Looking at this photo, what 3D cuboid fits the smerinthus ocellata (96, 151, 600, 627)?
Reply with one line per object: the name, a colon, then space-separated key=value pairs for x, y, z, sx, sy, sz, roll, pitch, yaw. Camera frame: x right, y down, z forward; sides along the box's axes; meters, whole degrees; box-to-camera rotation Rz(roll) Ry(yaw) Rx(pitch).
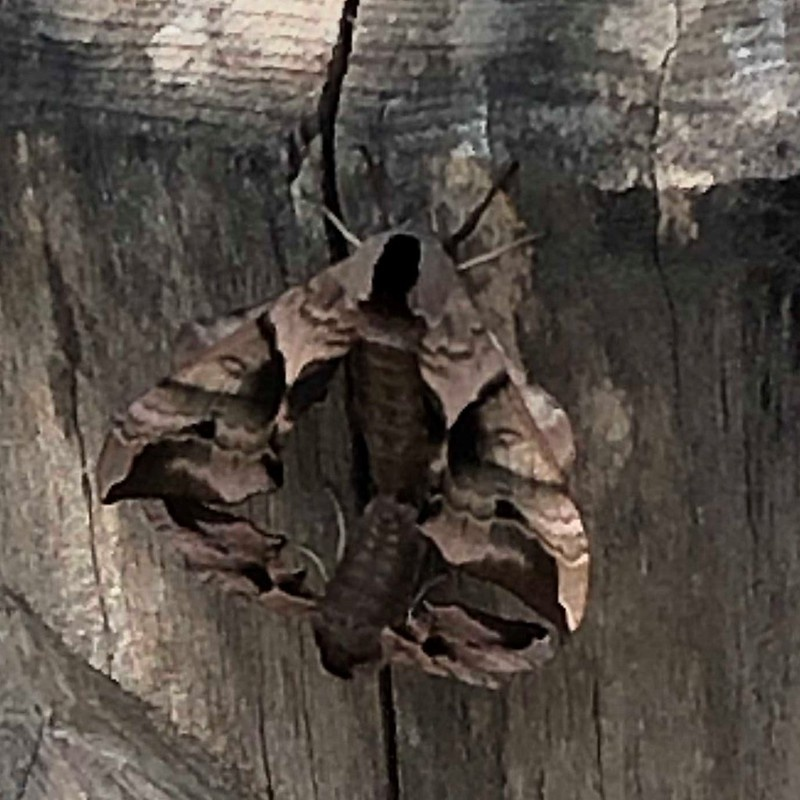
smerinthus ocellata: x=-0.045 y=0.022 z=1.361 sx=0.407 sy=0.350 sz=0.113 roll=-20 pitch=-1 yaw=35
